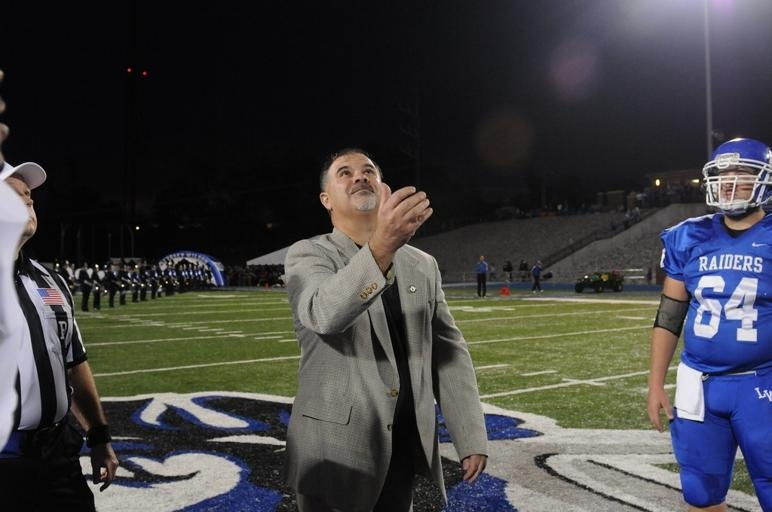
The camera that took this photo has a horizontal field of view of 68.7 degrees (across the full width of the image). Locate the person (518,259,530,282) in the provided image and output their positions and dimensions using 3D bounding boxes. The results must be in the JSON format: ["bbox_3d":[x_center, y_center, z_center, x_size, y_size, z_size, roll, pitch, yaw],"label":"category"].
[{"bbox_3d":[9.697,1.035,39.513,0.594,1.400,2.605,0,2,16],"label":"person"}]

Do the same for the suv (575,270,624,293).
[{"bbox_3d":[10.293,1.248,27.218,2.029,0.875,1.263,-1,-4,12],"label":"suv"}]

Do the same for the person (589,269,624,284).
[{"bbox_3d":[10.817,1.021,27.373,1.891,0.642,1.279,3,-1,-39],"label":"person"}]
